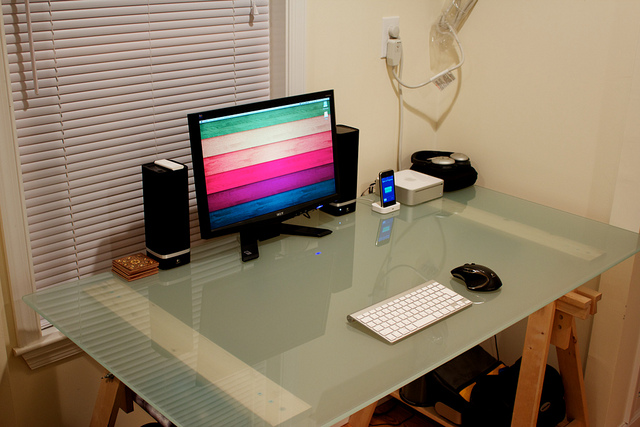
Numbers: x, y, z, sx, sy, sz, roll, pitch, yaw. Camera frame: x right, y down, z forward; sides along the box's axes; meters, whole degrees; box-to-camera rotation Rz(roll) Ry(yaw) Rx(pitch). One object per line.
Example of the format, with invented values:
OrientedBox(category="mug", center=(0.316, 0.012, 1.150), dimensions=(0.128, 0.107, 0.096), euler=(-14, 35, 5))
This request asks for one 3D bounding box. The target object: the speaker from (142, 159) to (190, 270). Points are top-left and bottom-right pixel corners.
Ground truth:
OrientedBox(category="speaker", center=(-0.532, 0.004, 1.658), dimensions=(0.156, 0.345, 0.155), euler=(-2, 12, -18))

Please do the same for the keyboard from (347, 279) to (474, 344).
OrientedBox(category="keyboard", center=(0.288, 0.302, 1.493), dimensions=(0.383, 0.024, 0.155), euler=(-18, 35, -27))

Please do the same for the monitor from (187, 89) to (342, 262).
OrientedBox(category="monitor", center=(-0.189, -0.148, 1.788), dimensions=(0.628, 0.542, 0.217), euler=(-19, 30, -37))

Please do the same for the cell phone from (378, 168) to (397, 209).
OrientedBox(category="cell phone", center=(0.288, -0.103, 2.031), dimensions=(0.112, 0.145, 0.059), euler=(-24, 38, -33))

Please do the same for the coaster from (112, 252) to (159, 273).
OrientedBox(category="coaster", center=(-0.631, 0.156, 1.631), dimensions=(0.079, 0.016, 0.079), euler=(19, 23, 37))
